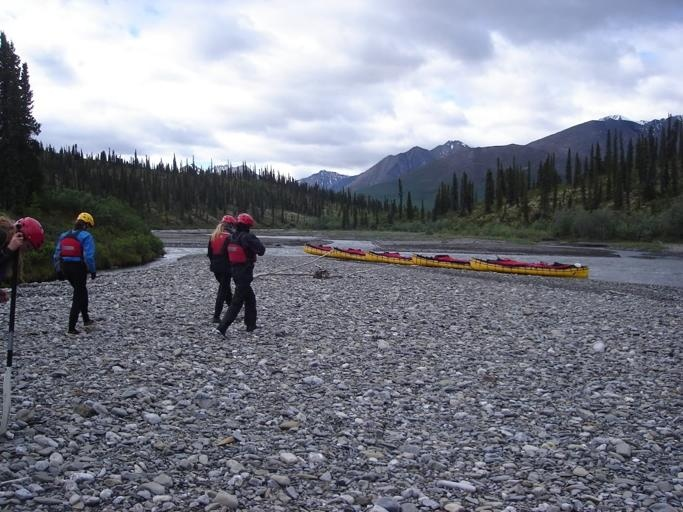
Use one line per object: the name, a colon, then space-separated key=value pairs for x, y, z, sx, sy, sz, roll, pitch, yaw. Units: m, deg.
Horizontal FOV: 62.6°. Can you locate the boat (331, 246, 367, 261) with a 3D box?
boat: x=0.713 y=-0.124 z=42.646 sx=0.994 sy=0.527 sz=3.079 roll=1 pitch=8 yaw=-33

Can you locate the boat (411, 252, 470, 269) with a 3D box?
boat: x=6.814 y=0.394 z=37.974 sx=2.762 sy=0.652 sz=3.513 roll=-2 pitch=13 yaw=-19

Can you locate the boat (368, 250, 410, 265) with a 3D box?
boat: x=3.506 y=0.148 z=40.199 sx=3.962 sy=0.787 sz=1.133 roll=5 pitch=2 yaw=35

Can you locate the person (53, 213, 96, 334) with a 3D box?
person: x=-6.639 y=0.486 z=14.172 sx=1.026 sy=3.105 sz=0.741 roll=2 pitch=12 yaw=-3
